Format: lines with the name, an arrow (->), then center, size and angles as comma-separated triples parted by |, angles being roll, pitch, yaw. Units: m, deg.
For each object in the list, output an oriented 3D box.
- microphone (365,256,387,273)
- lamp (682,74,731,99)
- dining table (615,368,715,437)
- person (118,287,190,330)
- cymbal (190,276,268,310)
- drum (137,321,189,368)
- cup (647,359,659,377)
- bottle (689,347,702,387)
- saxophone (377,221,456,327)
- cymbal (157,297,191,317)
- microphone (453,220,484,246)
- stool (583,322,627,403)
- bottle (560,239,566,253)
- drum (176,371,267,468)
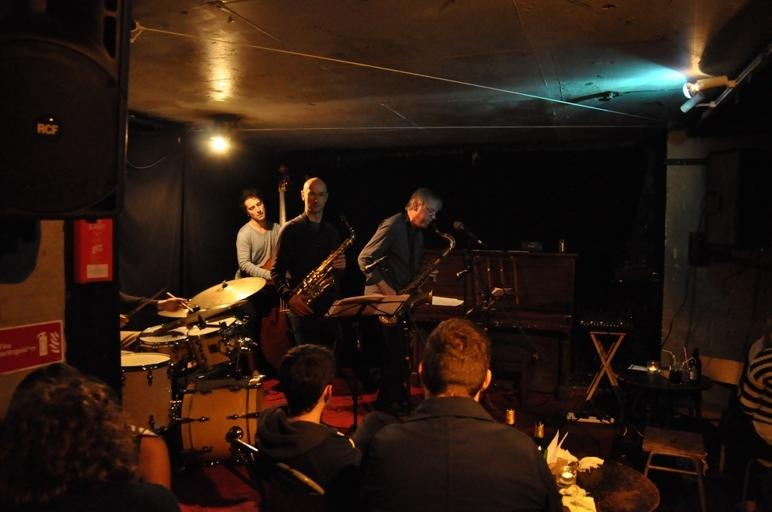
microphone -> -0.098, 0.091, 6.776 | 0.134, 0.212, 0.078 | 40, 13, 8
lamp -> 2.369, -1.260, 4.905 | 0.282, 0.107, 0.276 | -4, 4, -4
dining table -> 2.687, 1.407, 6.444 | 0.744, 0.859, 0.806 | 1, -5, -7
person -> -2.403, 0.532, 6.750 | 0.749, 0.145, 0.511 | -22, 13, -27
cymbal -> -1.535, 0.363, 6.511 | 0.724, 0.304, 0.723 | 1, -2, -17
drum -> -1.986, 0.778, 5.976 | 0.401, 0.238, 0.378 | 0, 4, 0
cup -> 2.546, 1.069, 6.337 | 0.109, 0.116, 0.105 | -1, -2, 0
bottle -> 2.857, 1.013, 6.155 | 0.114, 0.299, 0.382 | 0, -2, 24
saxophone -> 0.403, 0.293, 7.216 | 0.401, 0.456, 1.492 | 14, 47, 45
cymbal -> -2.025, 0.491, 6.372 | 0.323, 0.189, 0.267 | 1, -2, -9
microphone -> 0.993, -0.271, 7.866 | 0.413, 0.125, 0.112 | 40, 43, 26
stool -> 2.399, 1.172, 7.255 | 0.407, 0.781, 1.203 | 0, -2, 19
bottle -> 2.031, -0.103, 7.652 | 0.069, 0.159, 0.442 | 1, -2, 15
drum -> -1.438, 1.300, 6.025 | 0.703, 0.948, 0.925 | -1, 2, 2
